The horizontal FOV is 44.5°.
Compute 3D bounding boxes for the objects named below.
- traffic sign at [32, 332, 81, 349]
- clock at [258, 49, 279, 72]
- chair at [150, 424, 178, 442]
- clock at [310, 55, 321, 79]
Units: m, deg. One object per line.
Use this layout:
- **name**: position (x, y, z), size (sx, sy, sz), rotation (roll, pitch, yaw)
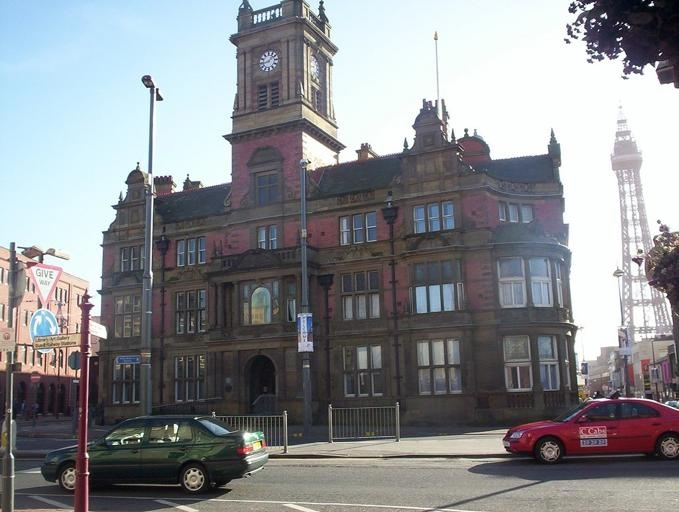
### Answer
- **traffic sign**: position (-7.223, 2.144, 21.034), size (1.347, 0.279, 0.215), rotation (-1, 2, 16)
- **clock**: position (-4.468, -12.133, 51.509), size (1.438, 1.465, 0.174), rotation (-12, -16, 31)
- **chair**: position (-4.872, 4.918, 22.816), size (0.896, 0.419, 0.593), rotation (-4, 3, 4)
- **clock**: position (-1.690, -12.053, 52.612), size (0.101, 1.603, 1.729), rotation (-3, 13, 19)
